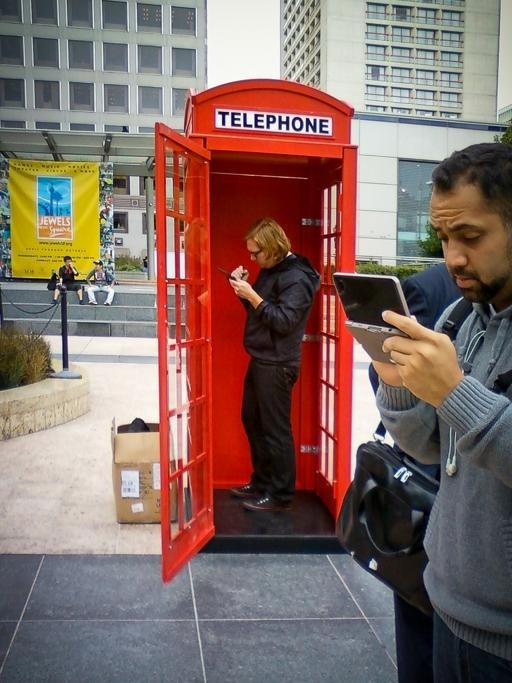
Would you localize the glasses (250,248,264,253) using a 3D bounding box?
[{"bbox_3d":[0.006,-0.467,3.467,0.024,0.036,0.078,-5,10,-30],"label":"glasses"}]

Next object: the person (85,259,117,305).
[{"bbox_3d":[-2.806,-1.068,12.090,0.443,0.883,0.615,-2,8,-19],"label":"person"}]

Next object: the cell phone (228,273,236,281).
[{"bbox_3d":[-0.116,-0.331,3.431,0.049,0.032,0.088,-1,9,-3],"label":"cell phone"}]

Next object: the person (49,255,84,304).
[{"bbox_3d":[-3.354,-1.104,11.727,0.491,0.869,0.524,1,1,-26],"label":"person"}]

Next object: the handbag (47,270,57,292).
[{"bbox_3d":[-3.517,-1.053,11.533,0.159,0.371,0.353,4,7,-9],"label":"handbag"}]

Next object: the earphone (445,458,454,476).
[{"bbox_3d":[0.359,0.228,1.220,0.008,0.031,0.009,-10,-38,25],"label":"earphone"}]

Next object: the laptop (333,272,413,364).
[{"bbox_3d":[0.238,-0.036,1.300,0.131,0.256,0.025,9,48,32],"label":"laptop"}]

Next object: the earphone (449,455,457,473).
[{"bbox_3d":[0.362,0.221,1.219,0.009,0.034,0.010,4,-13,45],"label":"earphone"}]

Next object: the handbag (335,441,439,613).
[{"bbox_3d":[0.381,0.479,1.753,0.178,0.377,0.337,-17,34,-37],"label":"handbag"}]

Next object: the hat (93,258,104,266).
[{"bbox_3d":[-2.867,-1.443,12.211,0.139,0.122,0.233,10,-3,44],"label":"hat"}]

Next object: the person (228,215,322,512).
[{"bbox_3d":[0.103,0.155,3.562,0.441,1.580,0.423,2,8,17],"label":"person"}]
